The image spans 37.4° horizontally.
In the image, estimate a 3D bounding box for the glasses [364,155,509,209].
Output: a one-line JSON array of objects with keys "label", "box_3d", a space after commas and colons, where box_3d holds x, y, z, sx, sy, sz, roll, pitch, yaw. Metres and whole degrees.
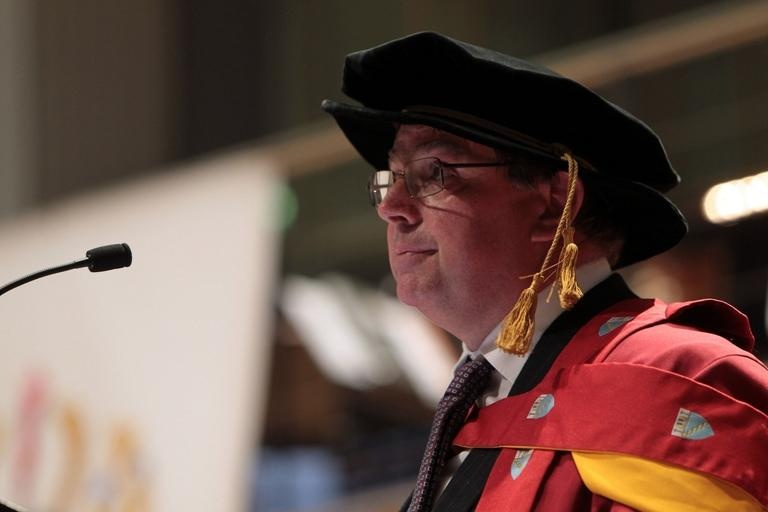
[{"label": "glasses", "box_3d": [0.071, -0.172, 2.494, 0.175, 0.043, 0.157, 7, -14, -39]}]
